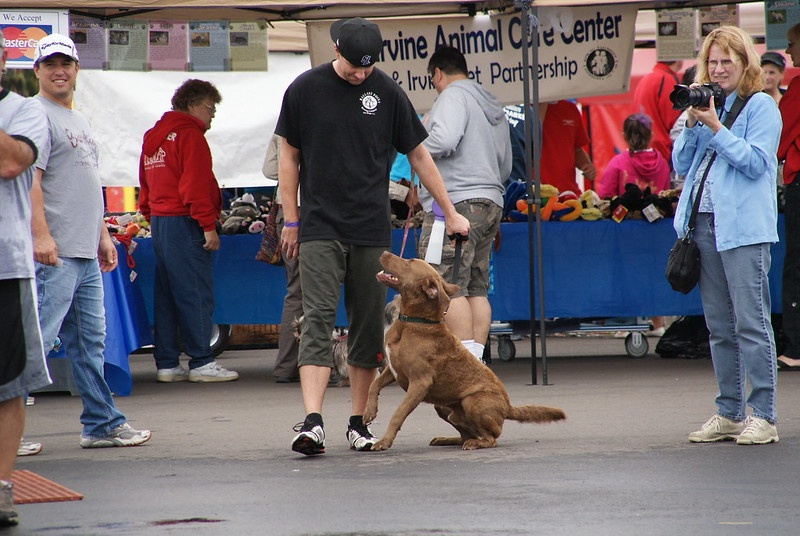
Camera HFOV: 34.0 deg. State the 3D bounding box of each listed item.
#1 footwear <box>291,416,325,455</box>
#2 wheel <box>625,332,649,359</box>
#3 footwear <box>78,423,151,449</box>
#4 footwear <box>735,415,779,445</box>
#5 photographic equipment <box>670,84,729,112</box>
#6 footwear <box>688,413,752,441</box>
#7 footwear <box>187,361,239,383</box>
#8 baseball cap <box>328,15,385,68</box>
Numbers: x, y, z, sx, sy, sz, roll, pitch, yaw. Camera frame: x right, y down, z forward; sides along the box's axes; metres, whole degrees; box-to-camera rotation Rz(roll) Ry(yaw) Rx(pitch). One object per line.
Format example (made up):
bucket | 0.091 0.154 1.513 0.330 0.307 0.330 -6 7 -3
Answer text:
footwear | -0.617 1.143 8.885 0.148 0.182 0.362 -3 -18 11
wheel | 2.441 0.798 13.555 0.309 0.309 0.116 -2 1 3
footwear | -2.102 1.222 9.565 0.542 0.211 0.183 -2 -5 -5
footwear | 2.480 1.142 9.160 0.367 0.152 0.134 3 -8 -28
photographic equipment | 2.077 -1.192 9.056 0.487 0.175 0.235 -6 9 -30
footwear | 2.244 1.142 9.288 0.461 0.172 0.160 2 -4 -8
footwear | -1.805 0.981 12.419 0.551 0.217 0.175 1 0 -6
baseball cap | -0.320 -1.556 9.034 0.355 0.344 0.292 0 8 6
